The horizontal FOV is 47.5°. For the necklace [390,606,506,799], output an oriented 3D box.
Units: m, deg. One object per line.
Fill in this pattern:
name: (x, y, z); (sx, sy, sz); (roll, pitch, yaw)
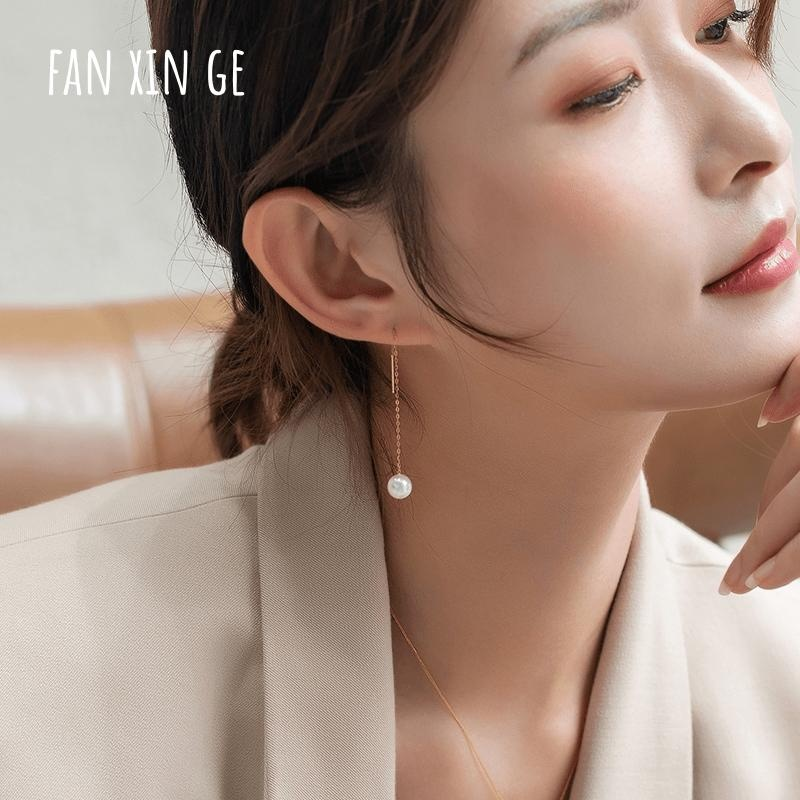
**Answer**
necklace: (0.065, 0.345, 1.098); (0.015, 0.260, 0.013); (-30, -5, -29)
